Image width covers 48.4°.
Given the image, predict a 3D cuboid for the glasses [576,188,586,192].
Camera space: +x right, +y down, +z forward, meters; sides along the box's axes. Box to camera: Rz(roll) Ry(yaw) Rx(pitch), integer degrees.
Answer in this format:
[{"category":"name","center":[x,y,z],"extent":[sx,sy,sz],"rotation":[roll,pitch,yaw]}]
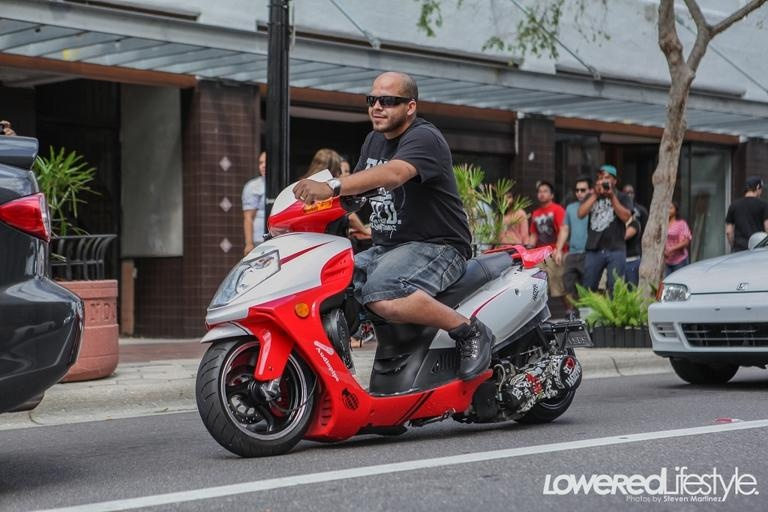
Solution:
[{"category":"glasses","center":[3.534,-1.185,15.362],"extent":[0.179,0.060,0.190],"rotation":[-1,-5,37]}]

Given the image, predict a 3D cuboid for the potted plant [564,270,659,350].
[{"category":"potted plant","center":[3.476,1.093,12.568],"extent":[1.217,0.937,1.116],"rotation":[9,-20,-10]}]

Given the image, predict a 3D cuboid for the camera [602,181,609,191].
[{"category":"camera","center":[3.416,-1.075,13.173],"extent":[0.129,0.136,0.100],"rotation":[0,0,9]}]

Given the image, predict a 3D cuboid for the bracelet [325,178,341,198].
[{"category":"bracelet","center":[-0.354,-0.488,6.037],"extent":[0.106,0.125,0.062],"rotation":[-6,1,-6]}]
